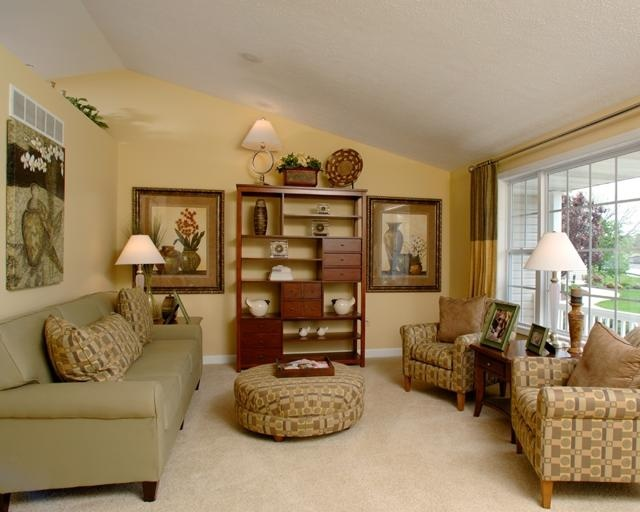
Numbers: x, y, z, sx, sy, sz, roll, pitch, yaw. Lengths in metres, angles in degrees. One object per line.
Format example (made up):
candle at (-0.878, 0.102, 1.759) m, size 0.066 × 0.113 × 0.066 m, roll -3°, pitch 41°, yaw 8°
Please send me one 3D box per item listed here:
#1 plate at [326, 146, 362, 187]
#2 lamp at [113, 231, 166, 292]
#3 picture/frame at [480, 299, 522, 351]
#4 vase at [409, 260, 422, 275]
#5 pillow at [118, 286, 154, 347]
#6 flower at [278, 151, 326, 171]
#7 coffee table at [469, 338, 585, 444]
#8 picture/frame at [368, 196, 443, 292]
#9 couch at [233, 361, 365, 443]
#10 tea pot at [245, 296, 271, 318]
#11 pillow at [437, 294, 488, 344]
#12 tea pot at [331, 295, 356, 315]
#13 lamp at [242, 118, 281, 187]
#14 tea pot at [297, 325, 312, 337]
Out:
plate at (0.278, -1.070, 5.803) m, size 0.462 × 0.474 × 0.335 m, roll 1°, pitch 8°, yaw 3°
lamp at (-1.802, 0.099, 4.953) m, size 0.393 × 0.650 × 0.660 m, roll -1°, pitch 8°, yaw -8°
picture/frame at (1.584, 0.618, 4.271) m, size 0.123 × 0.548 × 0.404 m, roll 23°, pitch -7°, yaw -18°
vase at (1.206, 0.156, 6.124) m, size 0.164 × 0.156 × 0.126 m, roll -2°, pitch 0°, yaw 4°
pillow at (-1.604, 0.537, 4.169) m, size 0.136 × 0.307 × 0.477 m, roll -13°, pitch 3°, yaw -7°
flower at (-0.242, -1.098, 5.621) m, size 0.532 × 0.242 × 0.463 m, roll 0°, pitch 8°, yaw -2°
coffee table at (1.677, 1.104, 4.158) m, size 0.646 × 0.766 × 0.802 m, roll 2°, pitch -2°, yaw -8°
picture/frame at (1.020, -0.173, 6.009) m, size 1.203 × 1.397 × 0.060 m, roll 0°, pitch 3°, yaw -11°
couch at (-0.152, 1.172, 3.795) m, size 1.028 × 0.411 × 0.450 m, roll -1°, pitch 8°, yaw -10°
tea pot at (-0.696, 0.568, 5.392) m, size 0.255 × 0.170 × 0.194 m, roll 0°, pitch -2°, yaw -23°
pillow at (1.378, 0.624, 4.645) m, size 0.424 × 0.431 × 0.158 m, roll 1°, pitch -22°, yaw 39°
tea pot at (0.271, 0.588, 5.672) m, size 0.237 × 0.172 × 0.182 m, roll 2°, pitch -8°, yaw -9°
lamp at (-0.690, -1.184, 5.515) m, size 0.444 × 0.691 × 0.520 m, roll -1°, pitch 8°, yaw -7°
tea pot at (-0.173, 0.871, 5.546) m, size 0.131 × 0.133 × 0.095 m, roll 4°, pitch -7°, yaw -3°
